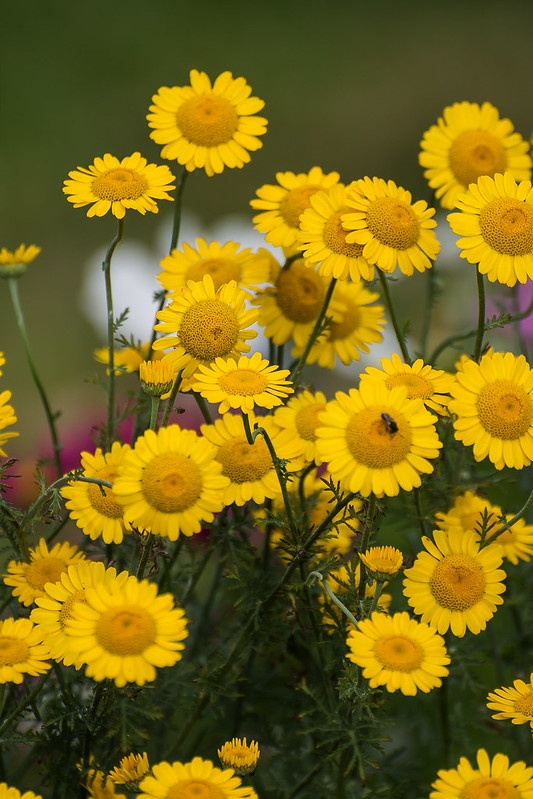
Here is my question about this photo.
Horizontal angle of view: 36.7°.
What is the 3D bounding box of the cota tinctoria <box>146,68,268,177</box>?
[{"bbox_3d":[-0.055,-0.254,0.734,0.104,0.092,0.117,-4,19,-7],"label":"cota tinctoria"}]
